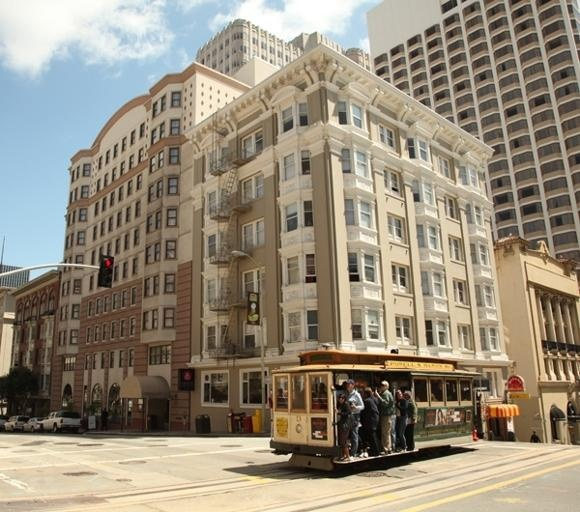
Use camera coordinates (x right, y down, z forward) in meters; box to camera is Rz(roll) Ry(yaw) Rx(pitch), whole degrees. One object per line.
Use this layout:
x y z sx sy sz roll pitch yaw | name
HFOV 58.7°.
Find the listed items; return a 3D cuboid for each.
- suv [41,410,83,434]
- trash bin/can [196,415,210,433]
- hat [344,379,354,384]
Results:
-17.274 12.537 39.030 3.278 1.541 1.186 -17 -25 39 | suv
-5.682 10.919 33.505 0.863 1.153 1.303 1 -19 -9 | trash bin/can
1.725 3.698 15.141 0.229 0.179 0.366 -4 -18 5 | hat
